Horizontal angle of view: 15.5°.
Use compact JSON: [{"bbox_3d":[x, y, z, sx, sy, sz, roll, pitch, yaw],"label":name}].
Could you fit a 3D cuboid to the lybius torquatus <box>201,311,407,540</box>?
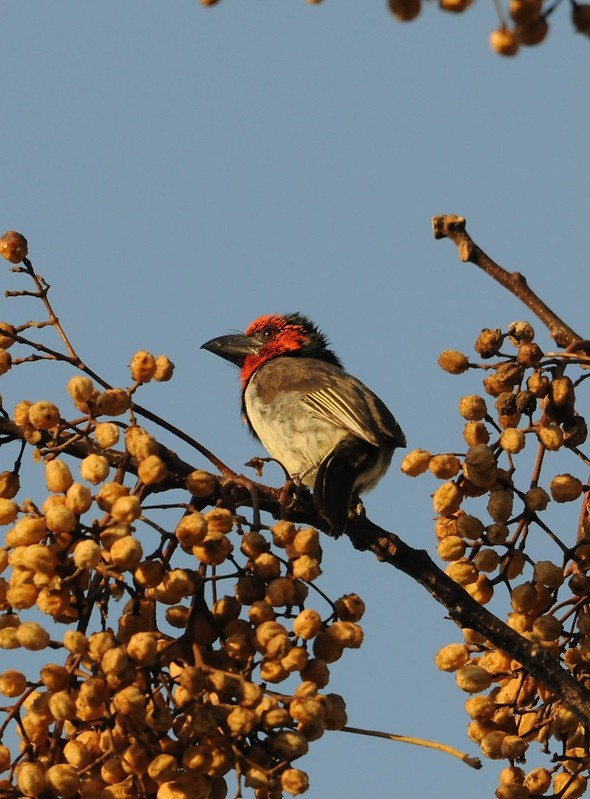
[{"bbox_3d":[0.076,0.091,8.988,0.975,1.028,0.475,-6,-34,23],"label":"lybius torquatus"}]
